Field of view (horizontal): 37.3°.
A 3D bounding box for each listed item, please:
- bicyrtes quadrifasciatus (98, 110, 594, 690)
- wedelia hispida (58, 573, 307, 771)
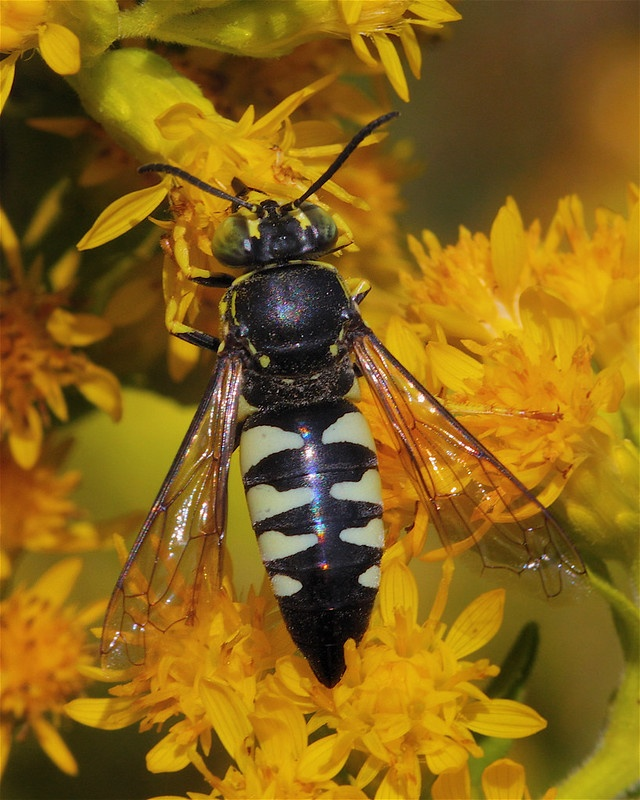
[{"bbox_3d":[0.009,0.001,1.181,0.501,0.681,0.534,-4,21,-5],"label":"bicyrtes quadrifasciatus"},{"bbox_3d":[-0.151,0.350,1.188,0.350,0.191,0.102,8,29,9],"label":"wedelia hispida"}]
